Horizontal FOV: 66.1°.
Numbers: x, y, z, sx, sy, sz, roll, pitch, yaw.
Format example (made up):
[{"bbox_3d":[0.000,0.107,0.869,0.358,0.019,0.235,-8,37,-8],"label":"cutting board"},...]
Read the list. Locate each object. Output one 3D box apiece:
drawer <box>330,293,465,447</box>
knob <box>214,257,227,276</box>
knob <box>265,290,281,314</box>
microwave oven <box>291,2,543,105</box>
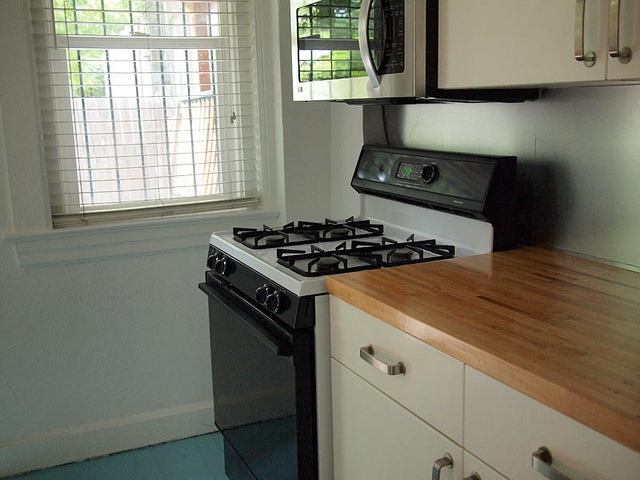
[{"bbox_3d":[0.167,0.261,1.107,0.261,0.061,0.260,26,11,41],"label":"drawer"},{"bbox_3d":[-0.365,0.100,1.817,0.023,0.069,0.050,9,12,-27],"label":"knob"},{"bbox_3d":[-0.137,0.181,1.467,0.027,0.064,0.088,-12,21,-26],"label":"knob"},{"bbox_3d":[0.304,-0.561,1.464,0.272,0.224,0.434,-6,16,-25],"label":"microwave oven"}]
